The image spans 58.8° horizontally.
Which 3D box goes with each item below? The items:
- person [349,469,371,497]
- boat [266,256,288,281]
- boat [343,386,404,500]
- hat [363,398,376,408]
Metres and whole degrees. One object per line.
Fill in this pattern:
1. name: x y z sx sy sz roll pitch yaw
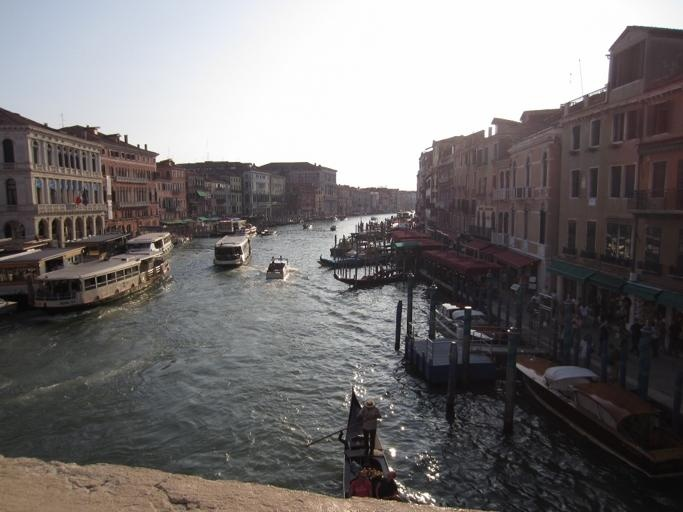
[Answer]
1. person: 0.794 8.872 23.361 0.888 1.117 1.014 1 6 1
2. boat: -6.513 1.614 61.332 2.117 1.441 3.574 1 6 -5
3. boat: 0.944 8.415 25.768 1.198 1.239 6.321 1 18 -4
4. hat: 1.233 6.513 26.268 0.453 0.229 0.673 0 3 0
